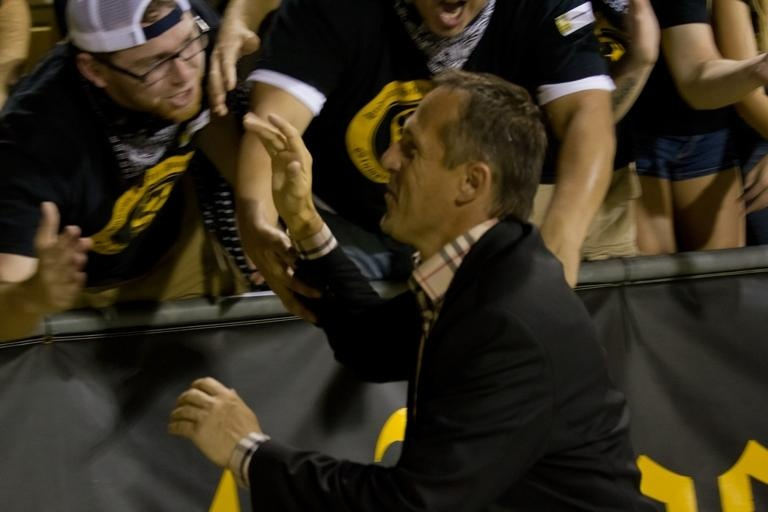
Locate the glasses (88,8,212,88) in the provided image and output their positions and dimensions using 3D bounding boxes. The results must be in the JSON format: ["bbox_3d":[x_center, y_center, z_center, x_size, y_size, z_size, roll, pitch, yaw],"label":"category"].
[{"bbox_3d":[-0.634,-0.579,1.792,0.216,0.062,0.228,-22,23,42],"label":"glasses"}]
